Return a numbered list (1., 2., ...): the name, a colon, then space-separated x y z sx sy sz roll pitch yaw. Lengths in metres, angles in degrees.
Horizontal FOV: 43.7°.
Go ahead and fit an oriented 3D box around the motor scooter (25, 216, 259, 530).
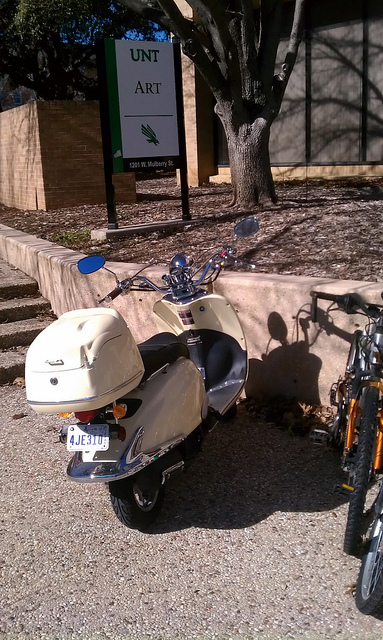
1. motor scooter: -0.120 0.278 2.439 0.741 1.469 1.557 -3 7 13
